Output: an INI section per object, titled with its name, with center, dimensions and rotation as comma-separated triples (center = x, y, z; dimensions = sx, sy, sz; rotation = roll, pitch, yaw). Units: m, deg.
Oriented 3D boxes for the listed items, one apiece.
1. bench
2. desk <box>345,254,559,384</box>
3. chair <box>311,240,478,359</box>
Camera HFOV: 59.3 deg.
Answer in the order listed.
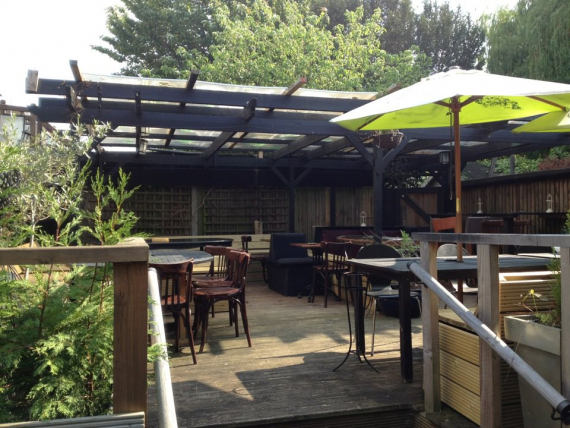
[bench]
center = 0.122, 0.807, 8.241
dimensions = 0.616, 0.906, 1.011
rotation = 0, -1, -18
[desk]
center = 1.261, 0.673, 4.045
dimensions = 1.116, 0.689, 1.108
rotation = 2, -5, -21
[chair]
center = 1.110, 1.015, 5.330
dimensions = 0.951, 0.726, 1.406
rotation = 2, -3, -11
